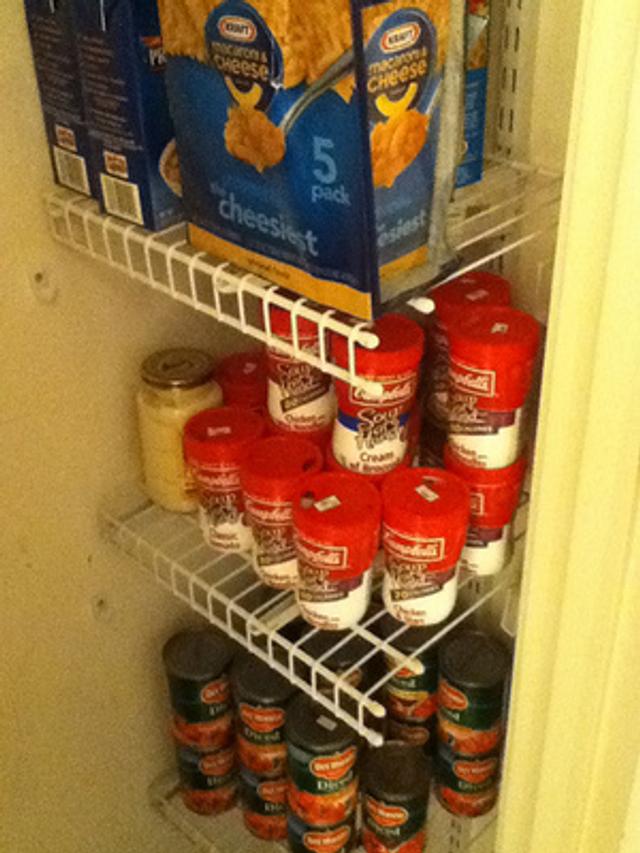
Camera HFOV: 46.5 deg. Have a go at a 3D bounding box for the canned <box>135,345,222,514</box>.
[{"bbox_3d":[-0.165,-0.005,0.893,0.085,0.145,0.086,0,32,-2],"label":"canned"}]
